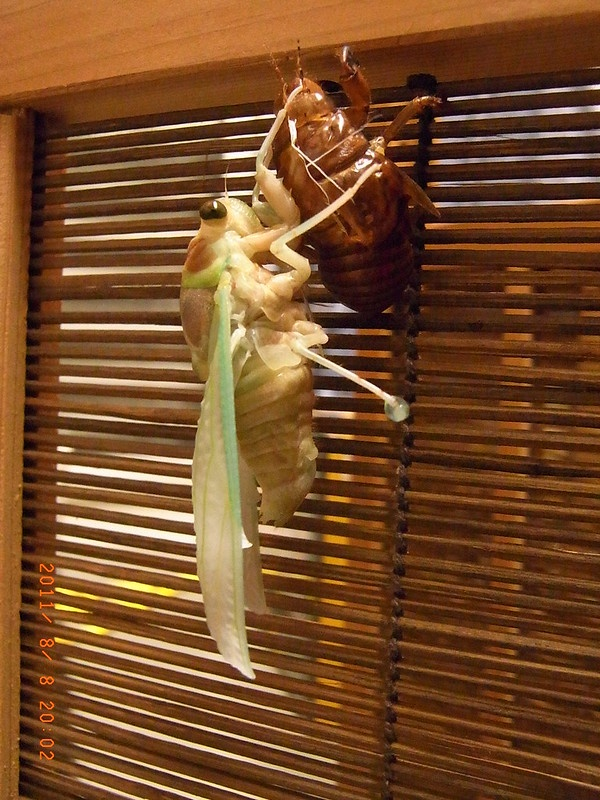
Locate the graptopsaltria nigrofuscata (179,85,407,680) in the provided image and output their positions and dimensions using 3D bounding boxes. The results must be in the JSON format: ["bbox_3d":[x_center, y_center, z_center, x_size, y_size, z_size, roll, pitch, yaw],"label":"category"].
[{"bbox_3d":[-0.003,0.018,0.644,0.190,0.510,0.200,-4,16,-12],"label":"graptopsaltria nigrofuscata"}]

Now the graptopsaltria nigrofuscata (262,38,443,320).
[{"bbox_3d":[0.041,-0.182,0.676,0.100,0.177,0.251,46,-5,30],"label":"graptopsaltria nigrofuscata"}]
